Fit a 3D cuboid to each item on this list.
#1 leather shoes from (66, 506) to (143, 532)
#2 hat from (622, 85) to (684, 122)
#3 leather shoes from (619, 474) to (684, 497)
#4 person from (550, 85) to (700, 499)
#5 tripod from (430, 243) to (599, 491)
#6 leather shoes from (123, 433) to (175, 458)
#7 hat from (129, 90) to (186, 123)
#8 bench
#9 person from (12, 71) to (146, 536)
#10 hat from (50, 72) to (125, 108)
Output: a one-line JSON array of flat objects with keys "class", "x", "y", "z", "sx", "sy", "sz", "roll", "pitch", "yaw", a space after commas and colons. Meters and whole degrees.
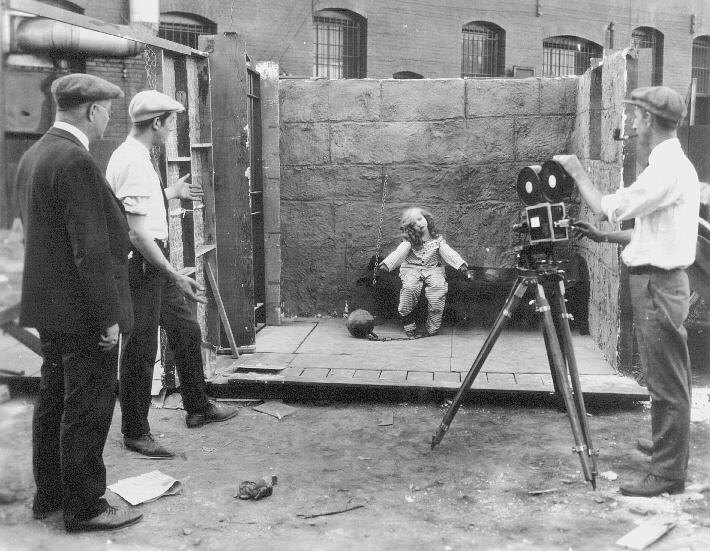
[{"class": "leather shoes", "x": -1.435, "y": 1.373, "z": 4.334, "sx": 0.397, "sy": 0.159, "sz": 0.144, "roll": -3, "pitch": 1, "yaw": -22}, {"class": "hat", "x": 1.866, "y": -1.094, "z": 4.806, "sx": 0.216, "sy": 0.119, "sz": 0.290, "roll": 7, "pitch": 16, "yaw": -17}, {"class": "leather shoes", "x": 1.830, "y": 1.292, "z": 4.740, "sx": 0.385, "sy": 0.173, "sz": 0.153, "roll": 1, "pitch": -15, "yaw": 3}, {"class": "person", "x": 1.735, "y": 0.076, "z": 4.742, "sx": 0.756, "sy": 2.441, "sz": 0.721, "roll": 3, "pitch": 13, "yaw": 17}, {"class": "tripod", "x": 1.184, "y": 0.554, "z": 5.325, "sx": 1.068, "sy": 1.550, "sz": 1.145, "roll": 3, "pitch": 12, "yaw": 21}, {"class": "leather shoes", "x": -1.452, "y": 1.194, "z": 5.309, "sx": 0.393, "sy": 0.168, "sz": 0.148, "roll": 9, "pitch": 4, "yaw": 3}, {"class": "hat", "x": -1.375, "y": -1.142, "z": 5.280, "sx": 0.331, "sy": 0.183, "sz": 0.225, "roll": -15, "pitch": 26, "yaw": -18}, {"class": "bench", "x": 1.013, "y": 0.214, "z": 8.628, "sx": 2.007, "sy": 0.688, "sz": 0.626, "roll": 1, "pitch": 6, "yaw": 8}, {"class": "person", "x": -1.605, "y": 0.175, "z": 4.250, "sx": 0.596, "sy": 2.526, "sz": 0.520, "roll": -6, "pitch": 14, "yaw": -23}, {"class": "hat", "x": -1.522, "y": -1.049, "z": 4.347, "sx": 0.250, "sy": 0.106, "sz": 0.288, "roll": 4, "pitch": 13, "yaw": 6}]
